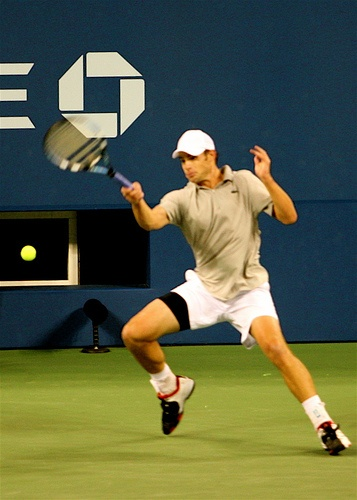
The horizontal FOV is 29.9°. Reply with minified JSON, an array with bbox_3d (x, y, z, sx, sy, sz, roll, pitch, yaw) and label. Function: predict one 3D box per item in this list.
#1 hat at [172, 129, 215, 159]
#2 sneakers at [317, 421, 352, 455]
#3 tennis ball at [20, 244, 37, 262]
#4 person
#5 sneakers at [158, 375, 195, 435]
[{"bbox_3d":[0.076,-0.540,3.468,0.151,0.099,0.202,-7,-6,29],"label":"hat"},{"bbox_3d":[0.691,0.846,2.987,0.116,0.177,0.073,-30,20,32],"label":"sneakers"},{"bbox_3d":[-1.487,0.041,6.574,0.163,0.175,0.165,-3,11,0],"label":"tennis ball"},{"bbox_3d":[0.207,0.180,3.341,0.917,1.554,0.767,-1,12,10],"label":"person"},{"bbox_3d":[-0.027,0.812,3.456,0.176,0.114,0.342,15,43,3],"label":"sneakers"}]
